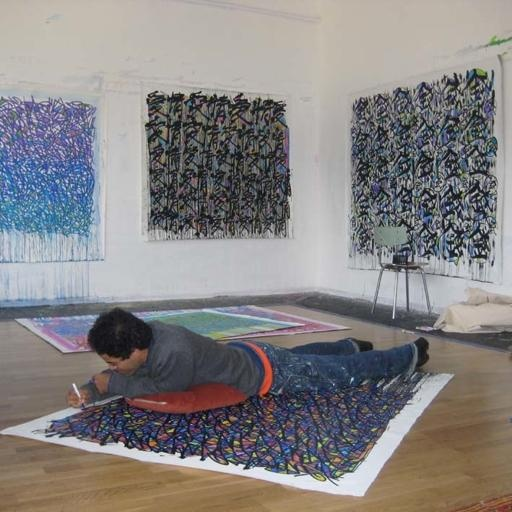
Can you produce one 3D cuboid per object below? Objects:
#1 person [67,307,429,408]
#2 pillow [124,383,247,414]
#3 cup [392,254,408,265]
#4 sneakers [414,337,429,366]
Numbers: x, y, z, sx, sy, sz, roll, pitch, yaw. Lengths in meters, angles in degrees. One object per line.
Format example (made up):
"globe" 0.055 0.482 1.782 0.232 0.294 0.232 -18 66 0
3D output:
"person" 0.079 0.478 2.235 1.742 0.482 0.626 1 -4 -20
"pillow" -0.279 0.643 2.028 0.512 0.096 0.154 0 1 -17
"cup" 1.532 0.047 4.901 0.159 0.101 0.146 1 1 0
"sneakers" 1.019 0.607 2.827 0.110 0.170 0.170 0 26 16
